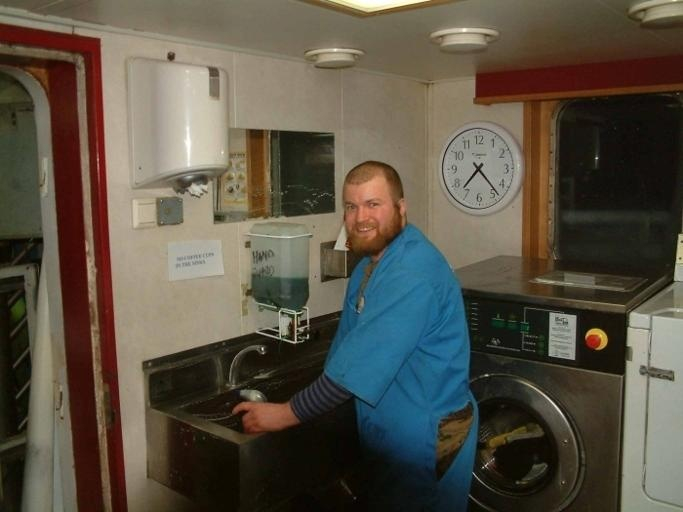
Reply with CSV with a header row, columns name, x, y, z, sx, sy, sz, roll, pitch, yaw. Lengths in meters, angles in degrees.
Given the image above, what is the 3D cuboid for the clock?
name,x,y,z,sx,sy,sz,roll,pitch,yaw
clock,0.839,-0.516,3.345,0.417,0.471,0.047,25,24,32

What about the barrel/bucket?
name,x,y,z,sx,sy,sz,roll,pitch,yaw
barrel/bucket,-0.287,0.058,2.615,0.247,0.412,0.224,4,9,34

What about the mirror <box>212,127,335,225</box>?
name,x,y,z,sx,sy,sz,roll,pitch,yaw
mirror,-0.324,-0.368,2.714,0.624,0.382,0.006,0,2,18
